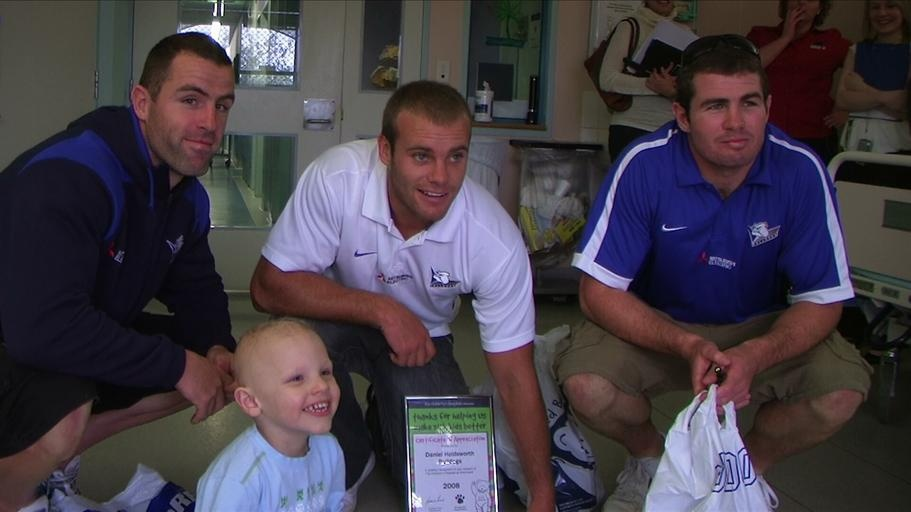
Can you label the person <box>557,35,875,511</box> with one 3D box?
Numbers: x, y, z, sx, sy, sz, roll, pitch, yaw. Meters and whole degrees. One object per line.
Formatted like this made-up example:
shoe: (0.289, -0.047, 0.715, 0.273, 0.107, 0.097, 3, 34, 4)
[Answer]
person: (1.153, 0.084, 2.923, 1.306, 2.125, 0.679, 4, 13, 9)
